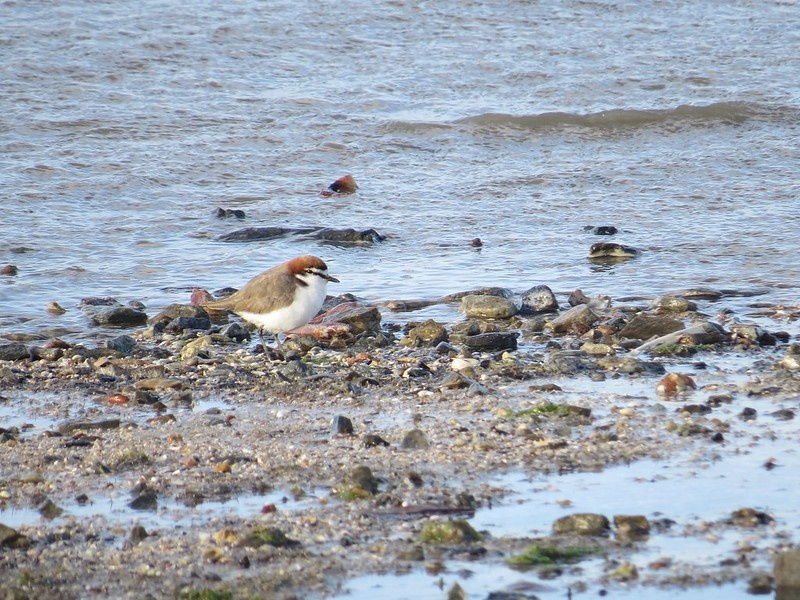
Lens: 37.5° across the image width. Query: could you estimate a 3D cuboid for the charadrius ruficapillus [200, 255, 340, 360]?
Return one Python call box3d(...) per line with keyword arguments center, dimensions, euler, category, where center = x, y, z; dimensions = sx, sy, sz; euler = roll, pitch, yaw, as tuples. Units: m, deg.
box3d(center=(-1.734, 0.074, 15.674), dimensions=(2.250, 0.956, 0.820), euler=(-9, -18, 15), category="charadrius ruficapillus")
